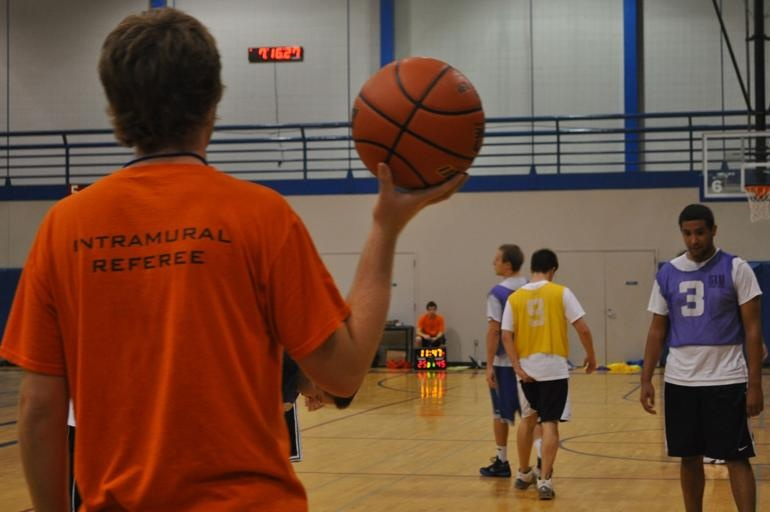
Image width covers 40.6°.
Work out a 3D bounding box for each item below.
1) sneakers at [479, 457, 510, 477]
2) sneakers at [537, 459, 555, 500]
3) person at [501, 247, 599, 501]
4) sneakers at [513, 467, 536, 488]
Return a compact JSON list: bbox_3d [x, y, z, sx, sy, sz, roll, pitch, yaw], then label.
[{"bbox_3d":[1.337,2.559,12.584,0.395,0.249,0.175,3,-4,7],"label":"sneakers"},{"bbox_3d":[1.837,2.564,11.864,0.196,0.345,0.282,0,8,8],"label":"sneakers"},{"bbox_3d":[1.818,1.330,12.192,0.994,2.724,1.088,4,9,30],"label":"person"},{"bbox_3d":[1.634,2.615,12.239,0.127,0.152,0.347,2,4,30],"label":"sneakers"}]
